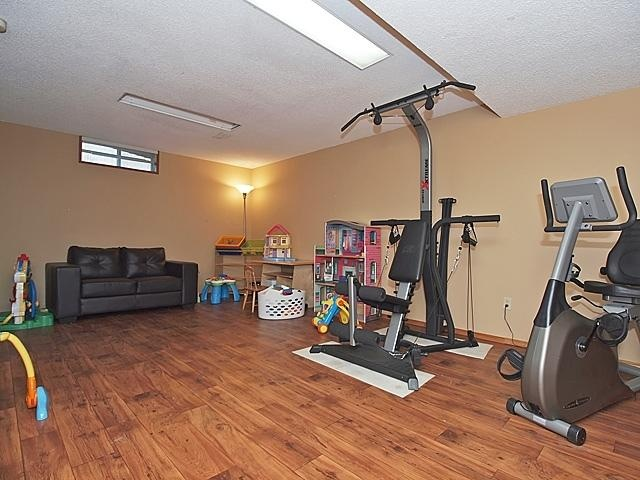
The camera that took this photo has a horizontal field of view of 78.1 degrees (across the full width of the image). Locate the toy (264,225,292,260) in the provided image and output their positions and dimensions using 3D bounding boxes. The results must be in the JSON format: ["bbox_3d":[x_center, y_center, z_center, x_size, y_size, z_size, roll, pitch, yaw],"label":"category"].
[{"bbox_3d":[-0.687,0.051,6.628,0.614,0.697,0.247,-7,-13,36],"label":"toy"}]

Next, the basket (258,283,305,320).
[{"bbox_3d":[-0.558,0.885,5.622,0.676,0.386,0.433,1,-3,-31],"label":"basket"}]

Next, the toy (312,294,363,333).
[{"bbox_3d":[0.175,0.860,5.053,0.794,0.415,0.385,-11,22,-44],"label":"toy"}]

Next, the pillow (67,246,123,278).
[{"bbox_3d":[-3.155,0.313,5.765,0.758,0.444,0.246,-1,19,5],"label":"pillow"}]

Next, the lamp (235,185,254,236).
[{"bbox_3d":[-1.439,-0.545,7.742,0.289,1.078,0.393,-2,13,-10],"label":"lamp"}]
